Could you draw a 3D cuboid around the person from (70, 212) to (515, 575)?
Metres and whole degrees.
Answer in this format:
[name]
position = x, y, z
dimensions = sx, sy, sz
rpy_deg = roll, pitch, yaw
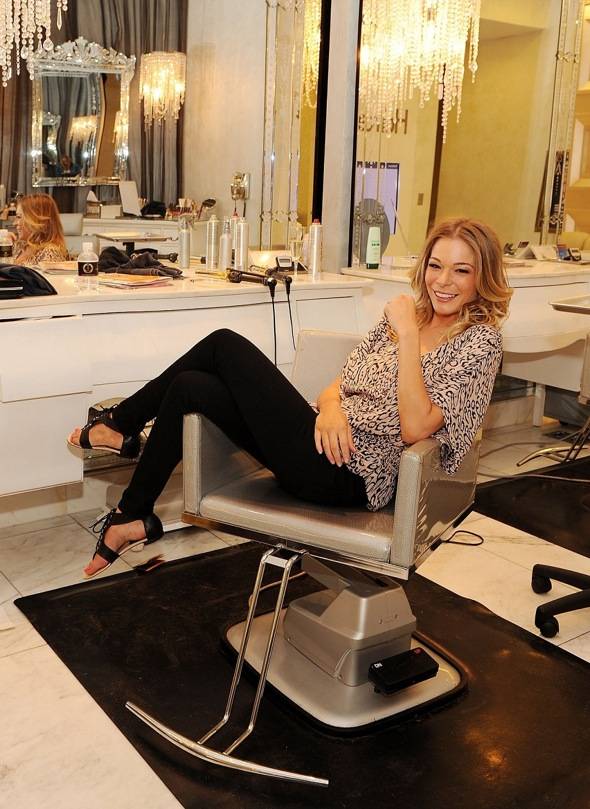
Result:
[person]
position = -0.028, 0.007, 1.413
dimensions = 0.958, 0.788, 0.475
rpy_deg = 4, 13, -1

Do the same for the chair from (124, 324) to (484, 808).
[chair]
position = 0.048, 0.272, 1.283
dimensions = 0.551, 0.688, 0.630
rpy_deg = 10, 8, 38

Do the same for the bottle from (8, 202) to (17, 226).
[bottle]
position = -0.917, -0.621, 2.082
dimensions = 0.027, 0.086, 0.027
rpy_deg = 11, 33, -7

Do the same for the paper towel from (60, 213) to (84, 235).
[paper towel]
position = -0.776, -0.632, 2.239
dimensions = 0.077, 0.069, 0.072
rpy_deg = 0, 22, -11
